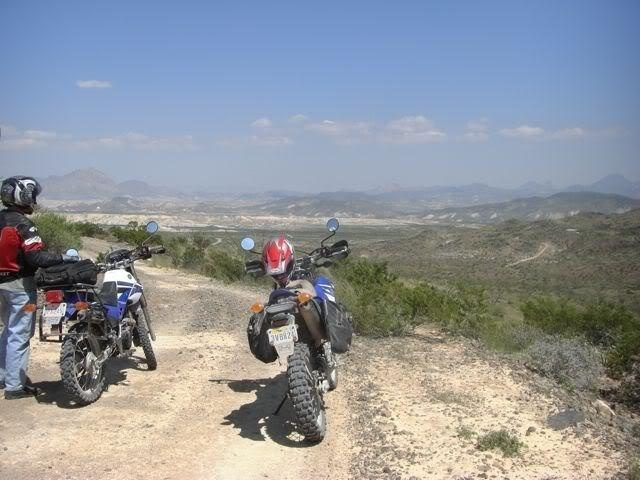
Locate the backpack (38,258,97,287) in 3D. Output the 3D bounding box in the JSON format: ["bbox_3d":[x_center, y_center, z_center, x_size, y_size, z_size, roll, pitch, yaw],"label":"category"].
[{"bbox_3d":[-3.730,0.506,6.750,0.608,0.285,0.469,-3,-2,18],"label":"backpack"}]

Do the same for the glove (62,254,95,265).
[{"bbox_3d":[-3.717,0.298,7.094,0.413,0.221,0.172,4,2,-6],"label":"glove"}]
